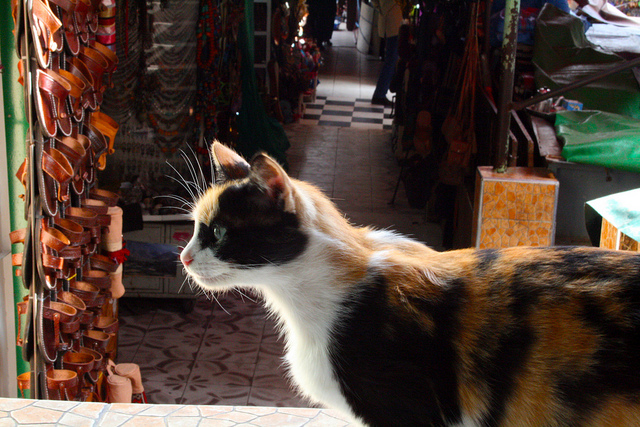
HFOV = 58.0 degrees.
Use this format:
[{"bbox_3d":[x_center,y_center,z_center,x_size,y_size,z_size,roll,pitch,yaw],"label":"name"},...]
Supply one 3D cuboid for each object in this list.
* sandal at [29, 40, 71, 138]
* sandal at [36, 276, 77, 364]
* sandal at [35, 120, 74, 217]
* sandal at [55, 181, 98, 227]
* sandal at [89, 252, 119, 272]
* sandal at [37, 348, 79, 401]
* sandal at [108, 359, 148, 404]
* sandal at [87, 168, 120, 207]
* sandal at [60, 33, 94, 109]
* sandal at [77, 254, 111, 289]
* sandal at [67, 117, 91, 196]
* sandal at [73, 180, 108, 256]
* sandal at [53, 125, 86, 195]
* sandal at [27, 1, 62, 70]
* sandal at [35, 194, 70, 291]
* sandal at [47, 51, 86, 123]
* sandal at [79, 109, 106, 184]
[{"bbox_3d":[-1.145,-0.515,2.477,0.094,0.371,0.143,1,8,20],"label":"sandal"},{"bbox_3d":[-1.179,0.504,2.733,0.120,0.369,0.219,-3,15,-12],"label":"sandal"},{"bbox_3d":[-1.154,-0.197,2.546,0.101,0.402,0.140,3,22,17],"label":"sandal"},{"bbox_3d":[-1.154,-0.044,2.825,0.208,0.208,0.133,4,23,0],"label":"sandal"},{"bbox_3d":[-1.129,0.239,3.057,0.102,0.042,0.103,29,14,19],"label":"sandal"},{"bbox_3d":[-1.252,0.804,2.775,0.097,0.277,0.131,-25,-19,32],"label":"sandal"},{"bbox_3d":[-1.186,1.041,3.506,0.181,0.248,0.254,3,-6,1],"label":"sandal"},{"bbox_3d":[-1.131,-0.133,3.061,0.185,0.068,0.137,22,-1,-7],"label":"sandal"},{"bbox_3d":[-1.123,-0.653,2.700,0.064,0.259,0.094,-10,11,21],"label":"sandal"},{"bbox_3d":[-1.168,0.298,2.986,0.177,0.129,0.135,14,4,25],"label":"sandal"},{"bbox_3d":[-1.150,-0.262,2.792,0.077,0.308,0.109,1,8,17],"label":"sandal"},{"bbox_3d":[-1.134,-0.038,2.939,0.079,0.127,0.227,-22,37,-4],"label":"sandal"},{"bbox_3d":[-1.137,-0.265,2.685,0.071,0.283,0.103,-22,58,-24],"label":"sandal"},{"bbox_3d":[-1.134,-0.735,2.394,0.110,0.272,0.101,11,15,39],"label":"sandal"},{"bbox_3d":[-1.212,0.124,2.603,0.113,0.429,0.131,0,4,24],"label":"sandal"},{"bbox_3d":[-1.129,-0.572,2.624,0.068,0.273,0.096,-8,13,13],"label":"sandal"},{"bbox_3d":[-1.125,-0.337,2.879,0.082,0.328,0.110,1,2,-28],"label":"sandal"}]
